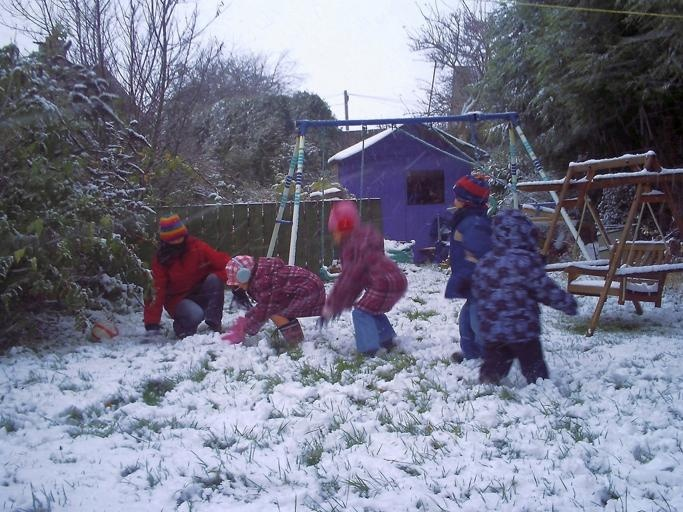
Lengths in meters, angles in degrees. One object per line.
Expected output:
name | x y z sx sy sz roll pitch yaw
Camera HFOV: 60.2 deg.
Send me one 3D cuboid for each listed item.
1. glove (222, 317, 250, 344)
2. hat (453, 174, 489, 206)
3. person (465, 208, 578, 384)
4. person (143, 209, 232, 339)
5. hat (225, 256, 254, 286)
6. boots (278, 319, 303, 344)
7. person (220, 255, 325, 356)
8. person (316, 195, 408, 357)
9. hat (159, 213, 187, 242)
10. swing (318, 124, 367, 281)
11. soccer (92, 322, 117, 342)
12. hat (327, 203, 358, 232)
glove | -0.977 0.720 5.549 0.163 0.296 0.069 30 -8 33
hat | 1.125 -0.562 5.049 0.227 0.277 0.279 6 -2 -21
person | 1.356 0.306 4.486 0.690 1.298 0.382 1 9 13
person | -1.565 0.245 5.999 0.960 1.310 0.645 -18 10 -24
hat | -0.947 0.153 5.510 0.268 0.290 0.215 -2 10 -3
boots | -0.454 0.690 5.589 0.209 0.257 0.194 -19 -5 26
person | -0.639 0.425 5.796 0.923 1.141 0.624 -7 22 -12
person | 0.165 0.213 5.435 0.709 1.423 0.625 -8 16 -8
hat | -1.644 -0.291 5.859 0.224 0.247 0.248 -3 10 15
swing | 0.038 -0.685 8.055 0.640 2.404 0.464 -4 25 -28
soccer | -2.295 0.728 5.739 0.179 0.201 0.176 13 -13 46
hat | 0.024 -0.354 5.463 0.230 0.278 0.258 -1 -17 11
